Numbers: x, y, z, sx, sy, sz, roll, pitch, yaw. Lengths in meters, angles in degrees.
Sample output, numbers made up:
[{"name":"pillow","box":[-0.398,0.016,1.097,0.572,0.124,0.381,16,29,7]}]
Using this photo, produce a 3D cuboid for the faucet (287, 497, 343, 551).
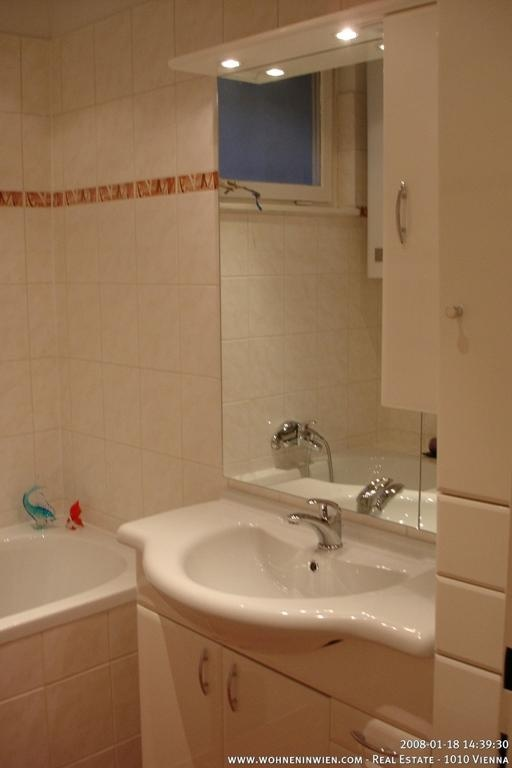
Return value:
[{"name":"faucet","box":[0.134,0.316,1.333,0.156,0.132,0.048,-12,19,-40]}]
